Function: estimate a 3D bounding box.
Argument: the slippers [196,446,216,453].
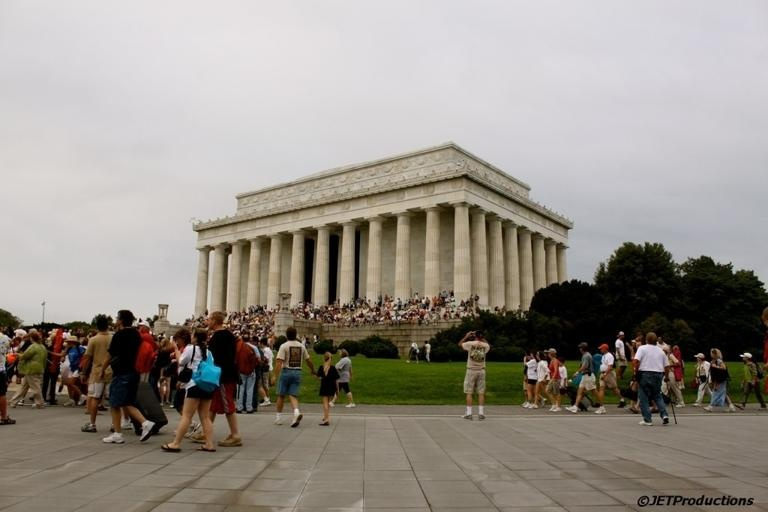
[{"bbox_3d":[-3.817,4.170,14.865,0.332,0.073,0.135,2,-11,29],"label":"slippers"}]

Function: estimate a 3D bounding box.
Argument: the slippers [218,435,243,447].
[{"bbox_3d":[-3.389,4.137,15.387,0.529,0.203,0.211,4,-13,-2],"label":"slippers"}]

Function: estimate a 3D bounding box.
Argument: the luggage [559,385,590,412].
[{"bbox_3d":[6.629,4.979,23.797,1.106,0.803,0.437,19,10,35],"label":"luggage"}]

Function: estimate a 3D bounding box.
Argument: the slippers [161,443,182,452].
[{"bbox_3d":[-4.516,4.082,14.706,0.346,0.112,0.184,11,-13,-4],"label":"slippers"}]
